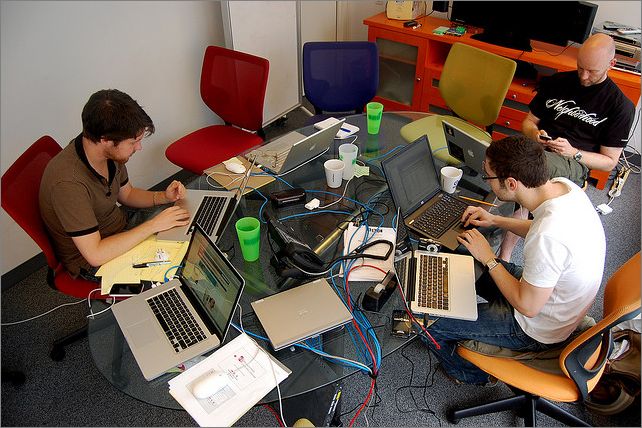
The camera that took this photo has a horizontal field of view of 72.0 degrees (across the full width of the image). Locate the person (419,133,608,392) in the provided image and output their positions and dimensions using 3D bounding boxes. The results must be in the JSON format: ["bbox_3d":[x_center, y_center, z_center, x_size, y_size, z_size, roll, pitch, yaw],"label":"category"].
[{"bbox_3d":[1.088,0.327,2.603,0.836,1.440,0.831,34,60,31],"label":"person"}]

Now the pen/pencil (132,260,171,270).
[{"bbox_3d":[-0.963,0.293,2.539,0.179,0.026,0.020,-7,23,-7],"label":"pen/pencil"}]

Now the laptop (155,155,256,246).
[{"bbox_3d":[-0.792,-0.052,2.667,0.452,0.403,0.246,13,79,31],"label":"laptop"}]

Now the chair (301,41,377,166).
[{"bbox_3d":[0.152,-0.944,3.962,0.741,1.041,0.703,-3,32,-6],"label":"chair"}]

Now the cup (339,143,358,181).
[{"bbox_3d":[0.185,-0.345,2.958,0.137,0.207,0.135,0,46,0],"label":"cup"}]

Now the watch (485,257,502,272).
[{"bbox_3d":[0.983,0.287,2.527,0.086,0.081,0.058,-31,70,8],"label":"watch"}]

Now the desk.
[{"bbox_3d":[-0.463,0.808,3.727,1.813,0.654,2.883,43,64,15],"label":"desk"}]

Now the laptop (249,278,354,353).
[{"bbox_3d":[-0.103,0.521,2.350,0.471,0.105,0.282,-14,44,-17],"label":"laptop"}]

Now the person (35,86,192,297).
[{"bbox_3d":[-1.327,-0.051,2.949,0.903,1.424,0.853,6,29,-12],"label":"person"}]

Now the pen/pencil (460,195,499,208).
[{"bbox_3d":[1.035,-0.081,2.882,0.182,0.018,0.018,20,51,9],"label":"pen/pencil"}]

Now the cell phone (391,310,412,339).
[{"bbox_3d":[0.430,0.586,2.355,0.100,0.038,0.145,6,42,5],"label":"cell phone"}]

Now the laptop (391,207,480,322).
[{"bbox_3d":[0.569,0.279,2.379,0.541,0.351,0.558,3,56,10],"label":"laptop"}]

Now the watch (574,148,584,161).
[{"bbox_3d":[1.962,-0.450,3.375,0.079,0.051,0.077,5,47,-23],"label":"watch"}]

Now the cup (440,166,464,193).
[{"bbox_3d":[0.875,-0.218,2.957,0.127,0.117,0.111,-16,29,-21],"label":"cup"}]

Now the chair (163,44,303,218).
[{"bbox_3d":[-0.902,-0.615,3.831,0.734,1.361,0.821,28,44,32],"label":"chair"}]

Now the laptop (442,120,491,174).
[{"bbox_3d":[1.000,-0.456,3.070,0.261,0.244,0.360,-28,46,-21],"label":"laptop"}]

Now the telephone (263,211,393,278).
[{"bbox_3d":[-0.015,0.201,2.567,0.484,0.208,0.427,-24,37,-17],"label":"telephone"}]

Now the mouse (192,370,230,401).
[{"bbox_3d":[-0.532,0.827,2.136,0.146,0.047,0.104,-24,59,-17],"label":"mouse"}]

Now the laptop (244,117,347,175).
[{"bbox_3d":[-0.230,-0.471,3.100,0.476,0.301,0.498,30,51,31],"label":"laptop"}]
